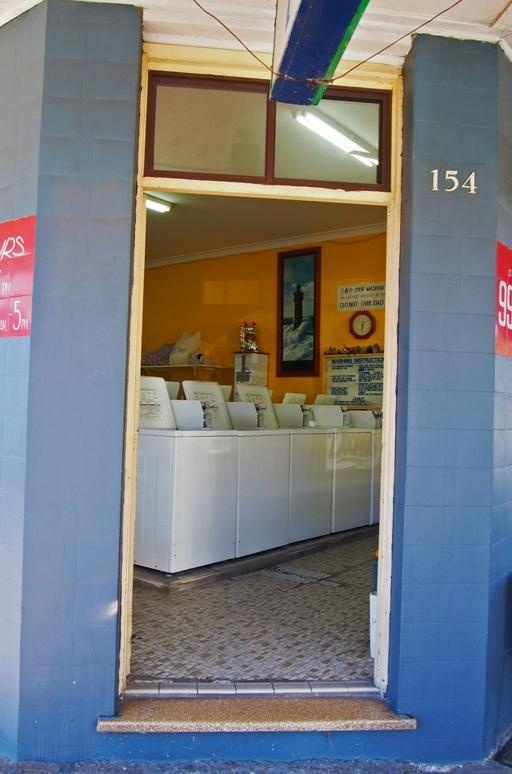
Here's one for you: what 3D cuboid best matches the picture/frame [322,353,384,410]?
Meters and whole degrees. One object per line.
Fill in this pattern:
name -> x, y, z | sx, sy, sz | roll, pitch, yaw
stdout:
picture/frame -> 1.182, -0.084, 8.904 | 0.688, 0.558, 0.267 | 5, 8, 38

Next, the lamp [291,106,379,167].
lamp -> 0.302, -1.001, 2.982 | 0.405, 0.089, 0.087 | 26, 25, -19

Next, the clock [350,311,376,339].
clock -> 1.292, -0.770, 9.028 | 0.360, 0.346, 0.038 | 4, 9, 40
